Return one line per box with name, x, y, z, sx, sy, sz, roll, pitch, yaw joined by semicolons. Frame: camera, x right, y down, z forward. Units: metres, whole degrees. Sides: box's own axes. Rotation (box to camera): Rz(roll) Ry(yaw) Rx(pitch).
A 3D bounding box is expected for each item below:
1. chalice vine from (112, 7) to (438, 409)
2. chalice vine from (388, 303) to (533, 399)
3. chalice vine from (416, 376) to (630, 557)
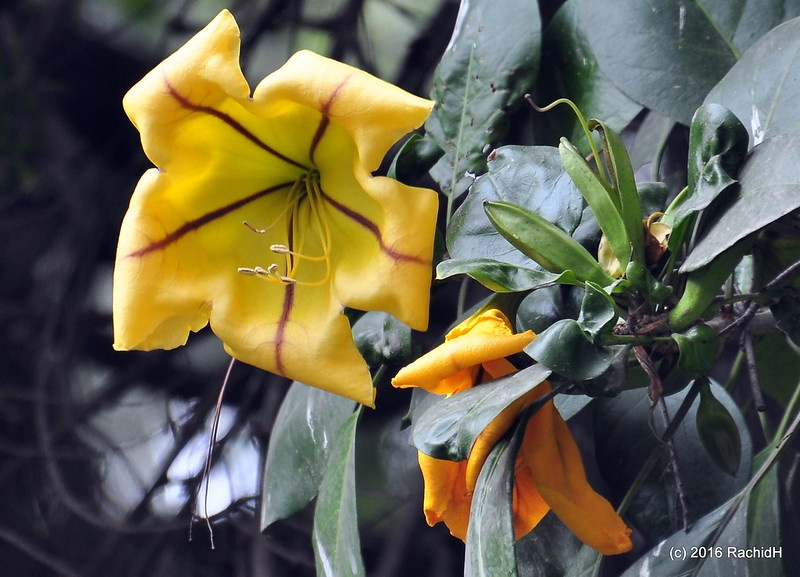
chalice vine;-0.140;-0.126;1.594;0.440;0.472;0.209;8;4;13
chalice vine;0.074;0.068;1.537;0.160;0.086;0.207;4;9;13
chalice vine;0.166;0.223;1.545;0.213;0.226;0.100;-7;-18;34
